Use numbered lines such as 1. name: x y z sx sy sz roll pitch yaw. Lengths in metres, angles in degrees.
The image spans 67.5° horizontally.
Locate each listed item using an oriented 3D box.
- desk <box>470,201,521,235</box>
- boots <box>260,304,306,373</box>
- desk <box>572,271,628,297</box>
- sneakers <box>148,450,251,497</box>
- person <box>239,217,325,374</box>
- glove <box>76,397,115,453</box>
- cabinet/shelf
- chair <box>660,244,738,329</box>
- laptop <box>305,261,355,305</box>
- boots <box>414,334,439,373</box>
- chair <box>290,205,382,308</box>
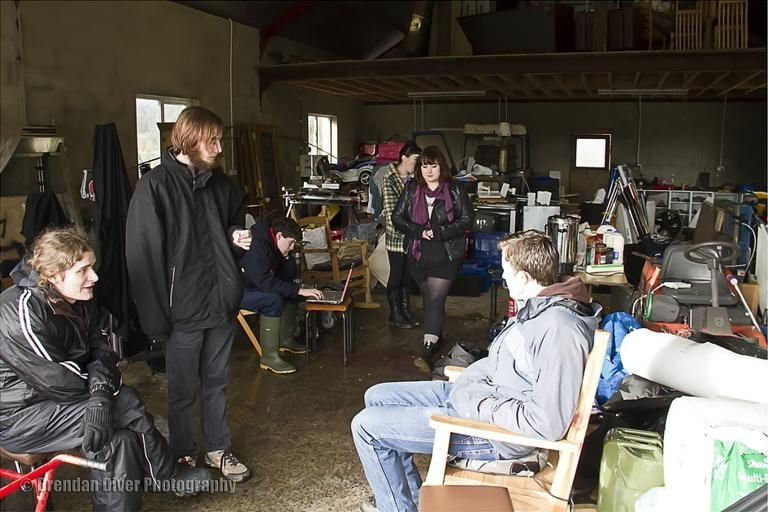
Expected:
1. desk: 1.565 -0.571 8.413 0.766 0.500 0.704 1 5 3
2. boots: -0.958 0.784 5.394 0.332 0.503 0.570 1 13 6
3. desk: 1.891 0.234 4.988 0.436 0.250 0.225 0 4 18
4. sneakers: -1.129 1.386 3.665 0.377 0.142 0.270 2 3 -27
5. person: -0.954 0.350 5.279 0.607 1.377 0.547 -11 17 -42
6. glove: -1.492 0.883 3.071 0.187 0.278 0.119 14 -1 35
7. cabinet/shelf: 5.181 -0.774 10.252 0.931 0.438 1.681 -31 24 -28
8. chair: 2.406 0.198 4.399 0.562 0.651 0.663 0 8 11
9. laptop: -0.499 0.243 5.444 0.363 0.245 0.427 3 4 3
10. boots: 0.402 0.903 5.264 0.157 0.413 0.187 9 31 3
11. chair: -0.575 0.061 7.178 1.232 1.304 1.028 1 5 25
